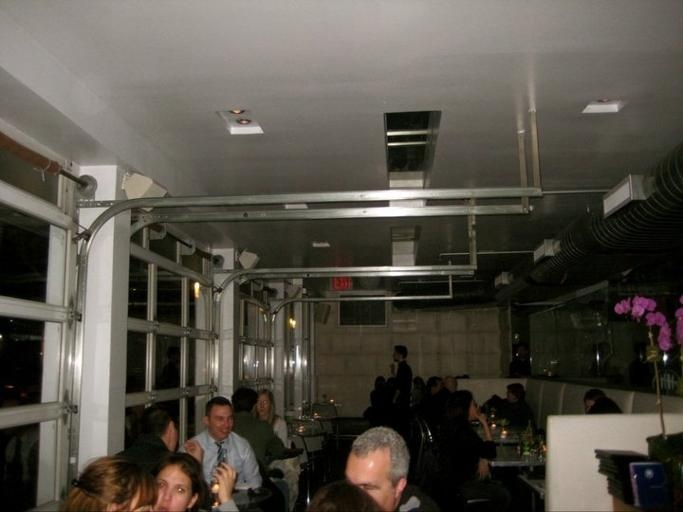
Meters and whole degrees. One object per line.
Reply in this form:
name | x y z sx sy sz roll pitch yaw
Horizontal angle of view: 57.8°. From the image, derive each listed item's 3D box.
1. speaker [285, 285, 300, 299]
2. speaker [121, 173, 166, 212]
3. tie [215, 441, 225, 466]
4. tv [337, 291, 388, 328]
speaker | -0.993 0.777 13.410 0.303 0.236 0.424 1 -3 6
speaker | -1.771 -0.619 5.604 0.476 0.330 0.266 -5 -15 17
tie | -1.051 1.715 5.413 0.084 0.171 0.189 4 -15 -14
tv | 0.590 1.458 16.290 1.407 0.978 0.053 0 -8 16
